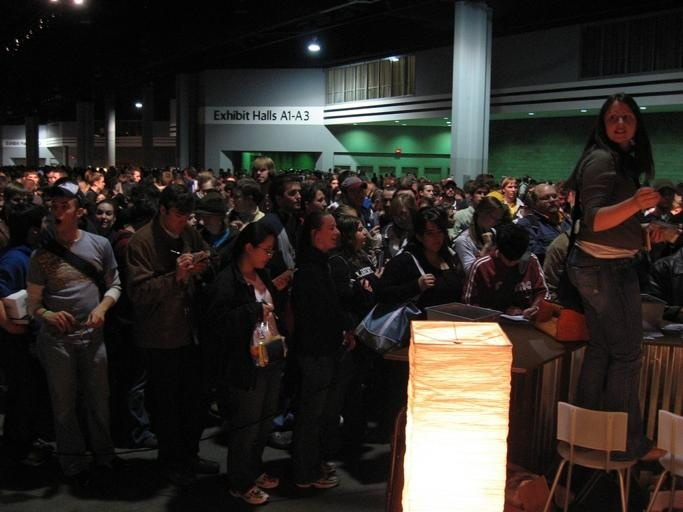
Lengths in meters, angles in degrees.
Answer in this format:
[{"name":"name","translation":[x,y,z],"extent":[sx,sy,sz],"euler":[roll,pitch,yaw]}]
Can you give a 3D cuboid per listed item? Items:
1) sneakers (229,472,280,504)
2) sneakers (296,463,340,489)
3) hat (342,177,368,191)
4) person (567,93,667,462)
[{"name":"sneakers","translation":[-0.599,1.603,3.722],"extent":[0.346,0.132,0.118],"euler":[-7,-6,30]},{"name":"sneakers","translation":[-0.160,1.587,3.898],"extent":[0.219,0.085,0.141],"euler":[-2,1,-6]},{"name":"hat","translation":[0.115,-0.806,5.906],"extent":[0.150,0.091,0.190],"euler":[-4,-16,-37]},{"name":"person","translation":[1.522,0.170,3.009],"extent":[0.554,2.136,0.888],"euler":[4,7,28]}]
